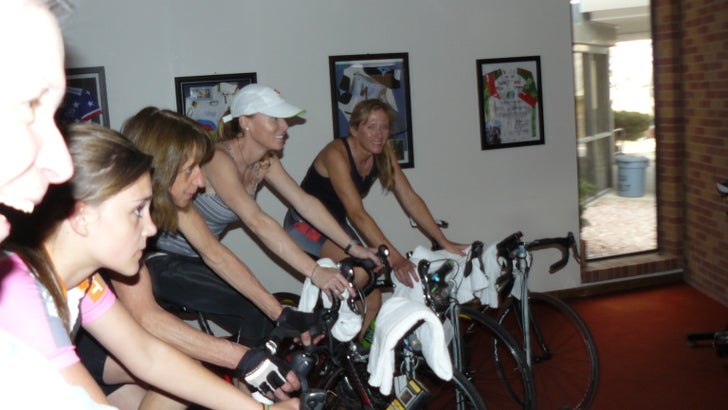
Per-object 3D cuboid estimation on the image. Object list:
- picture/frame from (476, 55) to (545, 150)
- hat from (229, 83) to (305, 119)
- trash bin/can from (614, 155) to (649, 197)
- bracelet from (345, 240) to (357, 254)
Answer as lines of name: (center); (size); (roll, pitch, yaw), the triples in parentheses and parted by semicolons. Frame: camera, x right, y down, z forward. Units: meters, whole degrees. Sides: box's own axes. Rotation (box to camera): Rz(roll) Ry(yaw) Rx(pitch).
picture/frame: (1.455, -1.071, 5.121); (0.869, 1.128, 0.051); (-7, 6, -13)
hat: (-0.729, -0.759, 3.670); (0.654, 0.234, 0.401); (1, 19, 18)
trash bin/can: (3.049, -0.322, 5.753); (0.353, 0.437, 0.360); (3, 8, 38)
bracelet: (-0.095, 0.293, 3.490); (0.068, 0.043, 0.071); (-33, -15, -49)
